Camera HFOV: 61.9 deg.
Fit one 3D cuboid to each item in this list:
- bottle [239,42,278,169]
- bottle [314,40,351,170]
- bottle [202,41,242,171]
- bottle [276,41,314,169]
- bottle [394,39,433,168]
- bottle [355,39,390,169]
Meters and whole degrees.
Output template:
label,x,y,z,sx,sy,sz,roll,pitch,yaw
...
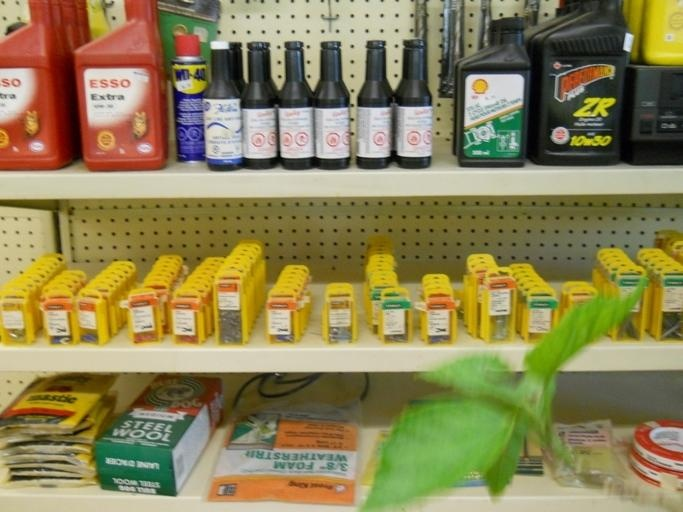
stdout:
label,x,y,z,sx,sy,sz,roll,pitch,yaw
bottle,-0.187,-0.337,1.292,0.081,0.276,0.032,-2,14,-6
bottle,-0.021,-0.335,1.283,0.081,0.277,0.056,-1,14,-3
bottle,-0.274,-0.343,1.303,0.086,0.292,0.097,-4,14,-12
bottle,-0.104,-0.337,1.292,0.082,0.279,0.058,-2,14,-5
bottle,0.172,-0.340,1.289,0.099,0.282,0.073,-3,14,-9
bottle,0.074,-0.334,1.275,0.075,0.277,0.039,0,14,1
